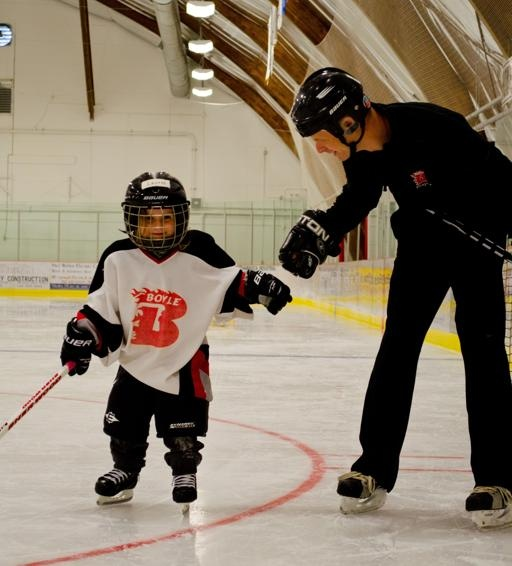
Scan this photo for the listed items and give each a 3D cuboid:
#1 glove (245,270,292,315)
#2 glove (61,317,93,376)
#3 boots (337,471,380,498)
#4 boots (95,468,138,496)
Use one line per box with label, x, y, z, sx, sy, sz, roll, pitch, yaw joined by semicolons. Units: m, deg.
glove;0.026;0.027;1.814;0.064;0.084;0.159;-14;30;-42
glove;-0.487;0.181;1.833;0.070;0.157;0.104;-25;56;-38
boots;0.251;0.521;1.700;0.073;0.030;0.085;3;0;29
boots;-0.385;0.555;1.797;0.056;0.070;0.117;7;2;35
